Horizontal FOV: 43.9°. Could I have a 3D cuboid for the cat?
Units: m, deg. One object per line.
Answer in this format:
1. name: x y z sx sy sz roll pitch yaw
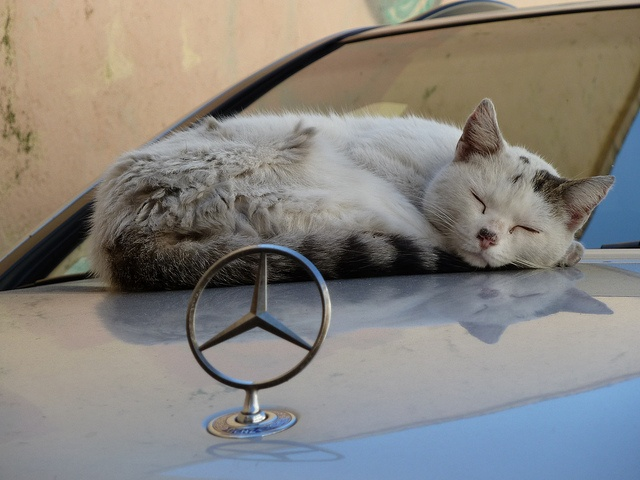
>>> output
1. cat: 0.056 -0.205 2.299 1.112 0.323 0.698 -3 -2 -8
